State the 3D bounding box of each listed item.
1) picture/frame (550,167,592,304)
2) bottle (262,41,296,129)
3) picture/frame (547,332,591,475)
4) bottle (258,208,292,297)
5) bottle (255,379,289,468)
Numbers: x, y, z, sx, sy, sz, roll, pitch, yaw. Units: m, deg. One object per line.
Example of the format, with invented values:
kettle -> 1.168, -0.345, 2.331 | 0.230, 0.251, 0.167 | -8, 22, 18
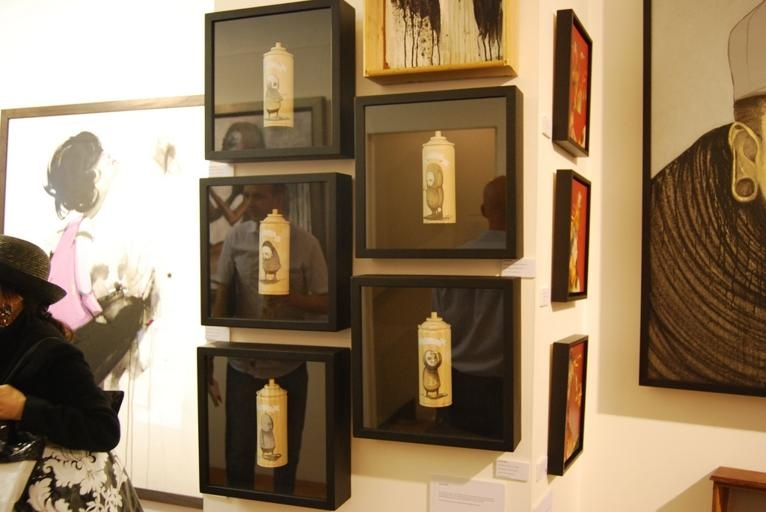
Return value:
picture/frame -> 0.790, -0.064, 2.879 | 0.045, 0.509, 0.349 | 3, 1, 31
bottle -> -0.409, -0.669, 2.699 | 0.127, 0.328, 0.058 | 0, -3, 2
picture/frame -> 0.788, 0.618, 2.916 | 0.122, 0.554, 0.417 | -1, -3, 24
bottle -> -0.424, -0.013, 2.728 | 0.130, 0.341, 0.050 | 0, -3, 6
bottle -> -0.439, 0.656, 2.746 | 0.117, 0.351, 0.123 | 1, 6, 0
